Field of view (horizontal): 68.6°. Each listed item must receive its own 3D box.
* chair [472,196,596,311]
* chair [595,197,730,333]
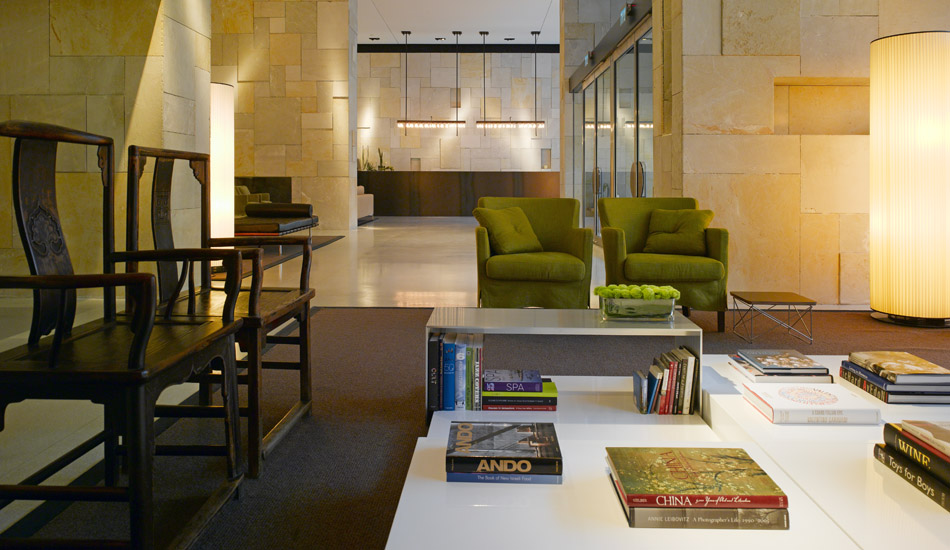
[{"bbox_3d":[0.522,-0.209,6.082,1.078,1.124,1.039,1,-3,0],"label":"chair"},{"bbox_3d":[1.813,-0.076,6.421,1.216,1.281,1.200,1,-2,0],"label":"chair"}]
